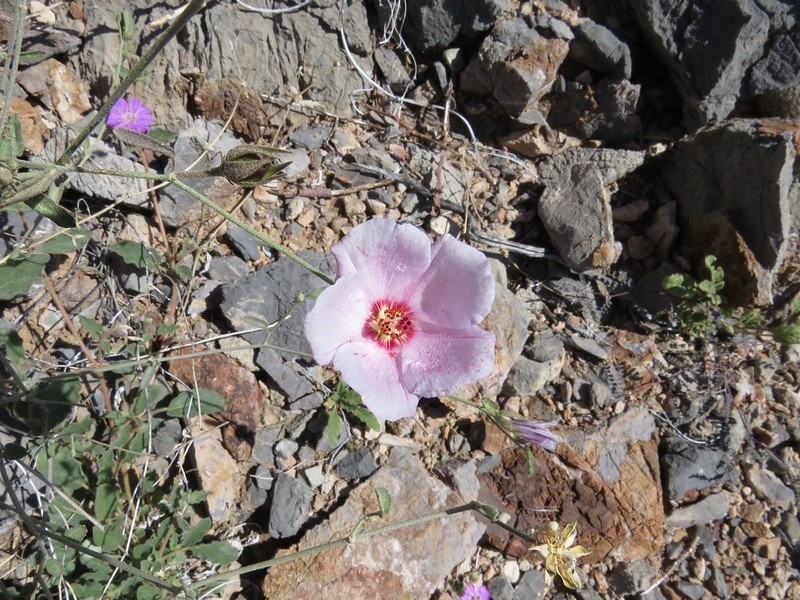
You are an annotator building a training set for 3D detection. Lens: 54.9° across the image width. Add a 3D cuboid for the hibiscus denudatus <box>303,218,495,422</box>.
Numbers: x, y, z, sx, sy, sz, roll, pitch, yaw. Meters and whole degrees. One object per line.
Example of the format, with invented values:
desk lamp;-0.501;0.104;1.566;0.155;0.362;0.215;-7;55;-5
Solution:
hibiscus denudatus;0.022;0.068;3.909;1.021;0.394;1.004;-28;61;-26
